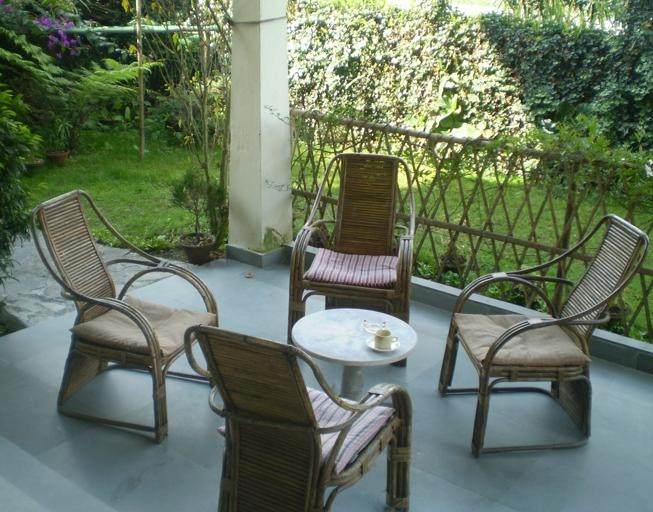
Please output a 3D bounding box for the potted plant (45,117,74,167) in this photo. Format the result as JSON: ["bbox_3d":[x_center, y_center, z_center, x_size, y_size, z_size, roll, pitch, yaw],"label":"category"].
[{"bbox_3d":[-3.982,-1.719,8.158,0.251,0.649,0.531,4,19,0],"label":"potted plant"}]

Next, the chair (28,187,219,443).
[{"bbox_3d":[-1.250,0.336,3.385,0.829,1.276,0.829,7,17,5],"label":"chair"}]

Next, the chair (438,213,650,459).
[{"bbox_3d":[1.272,0.402,3.245,0.939,1.297,0.718,0,19,-11],"label":"chair"}]

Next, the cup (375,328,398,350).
[{"bbox_3d":[0.336,0.454,3.002,0.104,0.084,0.082,4,21,5],"label":"cup"}]
